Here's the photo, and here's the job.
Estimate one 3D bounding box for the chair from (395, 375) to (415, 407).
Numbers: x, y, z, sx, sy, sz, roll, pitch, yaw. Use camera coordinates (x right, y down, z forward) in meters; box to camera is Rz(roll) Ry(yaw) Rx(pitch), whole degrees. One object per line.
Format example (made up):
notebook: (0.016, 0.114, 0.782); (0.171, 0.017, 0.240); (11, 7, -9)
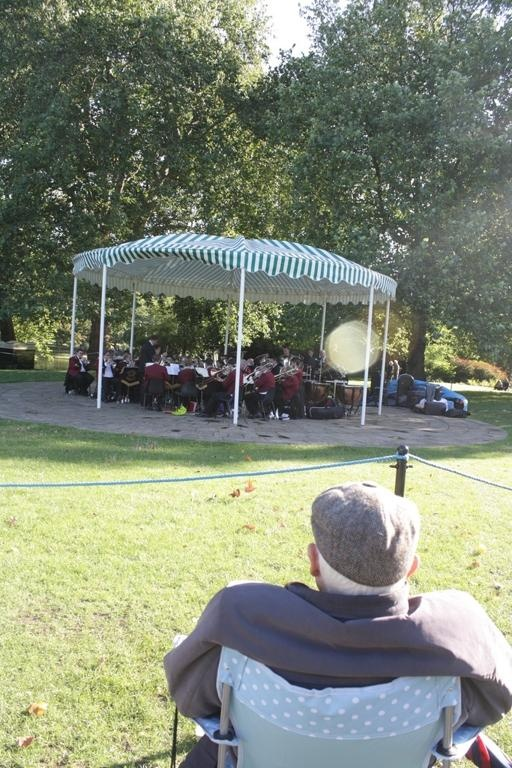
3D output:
chair: (4.310, 0.202, 21.549); (0.229, 0.883, 0.485); (5, -1, -32)

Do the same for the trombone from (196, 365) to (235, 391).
trombone: (-0.881, -0.123, 15.157); (0.477, 0.428, 0.746); (1, -2, 13)

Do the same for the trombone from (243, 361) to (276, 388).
trombone: (0.087, -0.219, 14.894); (0.447, 0.545, 0.295); (6, -29, 28)

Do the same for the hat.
hat: (0.299, 0.351, 2.019); (0.300, 0.205, 0.424); (0, 12, -9)

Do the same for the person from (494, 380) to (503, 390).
person: (14.942, 0.079, 45.861); (0.439, 0.835, 0.623); (5, -3, 35)
